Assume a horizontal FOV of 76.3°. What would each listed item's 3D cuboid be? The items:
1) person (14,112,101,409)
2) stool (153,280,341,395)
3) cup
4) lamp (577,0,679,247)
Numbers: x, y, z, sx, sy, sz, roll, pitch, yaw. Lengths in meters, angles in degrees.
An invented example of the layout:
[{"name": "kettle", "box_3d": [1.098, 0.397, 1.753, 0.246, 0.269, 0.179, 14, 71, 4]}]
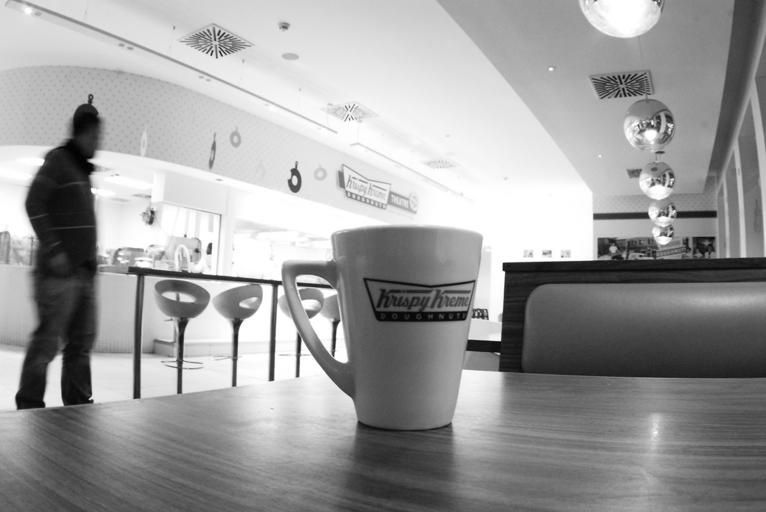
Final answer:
[{"name": "person", "box_3d": [-1.770, -0.028, 2.653, 0.253, 1.750, 0.376, 1, 0, 41]}, {"name": "stool", "box_3d": [-1.470, 0.757, 4.617, 1.475, 1.067, 0.809, 1, -10, -7]}, {"name": "cup", "box_3d": [-0.005, 0.089, 0.596, 0.227, 0.229, 0.173, 3, -7, -15]}, {"name": "lamp", "box_3d": [3.217, -1.546, 6.284, 0.563, 2.034, 0.614, -10, 18, 9]}]
